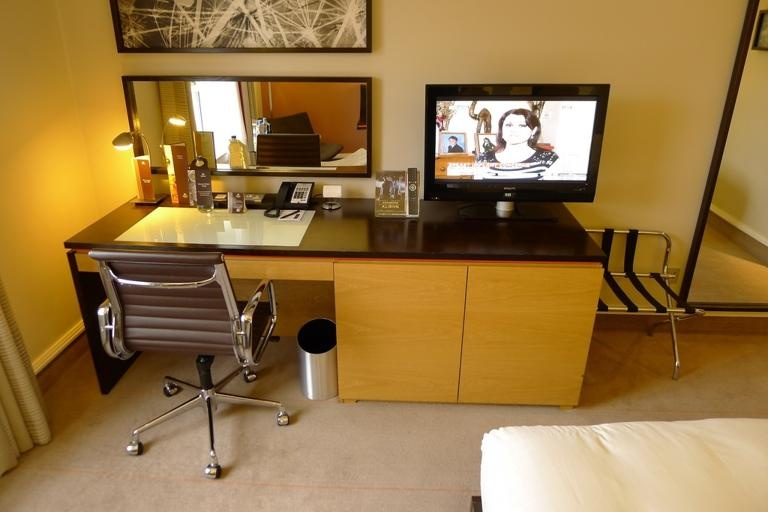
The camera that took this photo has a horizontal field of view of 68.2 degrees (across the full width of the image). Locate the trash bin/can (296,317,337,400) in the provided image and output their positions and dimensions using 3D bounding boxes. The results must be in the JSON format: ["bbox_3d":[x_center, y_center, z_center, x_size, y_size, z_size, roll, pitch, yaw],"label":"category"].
[{"bbox_3d":[-0.408,0.637,3.469,0.296,0.487,0.320,0,33,-2],"label":"trash bin/can"}]

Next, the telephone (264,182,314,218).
[{"bbox_3d":[-0.571,-0.338,3.582,0.219,0.192,0.048,23,12,34],"label":"telephone"}]

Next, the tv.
[{"bbox_3d":[0.757,-0.637,3.352,0.883,0.612,0.217,0,23,3],"label":"tv"}]

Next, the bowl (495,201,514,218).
[{"bbox_3d":[0.740,-0.286,3.485,0.107,0.074,0.102,-1,20,0],"label":"bowl"}]

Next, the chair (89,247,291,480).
[{"bbox_3d":[-1.011,0.503,3.061,0.912,1.261,0.609,-5,23,-10],"label":"chair"}]

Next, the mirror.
[{"bbox_3d":[-0.849,-0.816,3.582,1.534,0.612,0.102,1,23,5],"label":"mirror"}]
